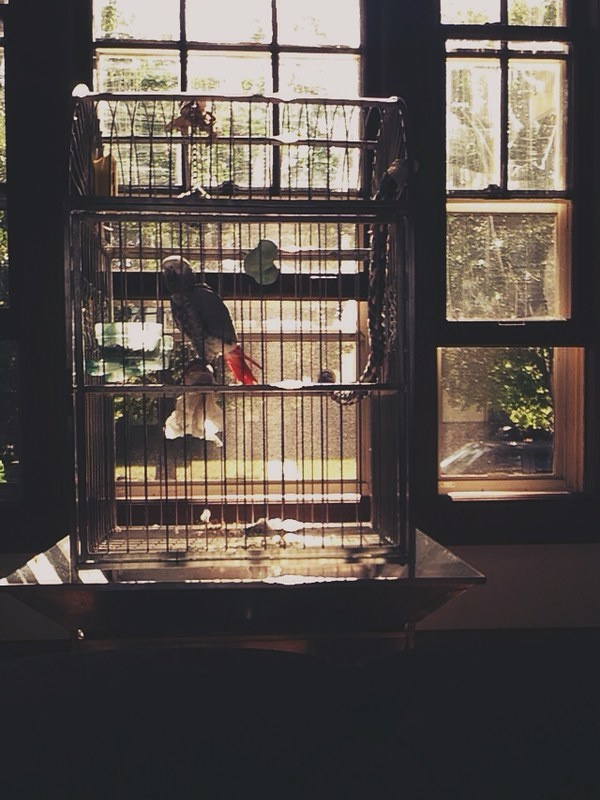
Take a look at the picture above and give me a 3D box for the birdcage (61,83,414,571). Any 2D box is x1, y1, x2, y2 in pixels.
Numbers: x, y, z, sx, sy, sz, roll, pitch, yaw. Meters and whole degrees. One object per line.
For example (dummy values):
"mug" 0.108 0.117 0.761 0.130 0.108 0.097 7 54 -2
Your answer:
"birdcage" -0.098 -0.143 2.137 0.556 0.827 0.563 -2 3 0

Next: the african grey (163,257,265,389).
"african grey" -0.148 -0.129 1.996 0.149 0.212 0.121 -2 3 -5
